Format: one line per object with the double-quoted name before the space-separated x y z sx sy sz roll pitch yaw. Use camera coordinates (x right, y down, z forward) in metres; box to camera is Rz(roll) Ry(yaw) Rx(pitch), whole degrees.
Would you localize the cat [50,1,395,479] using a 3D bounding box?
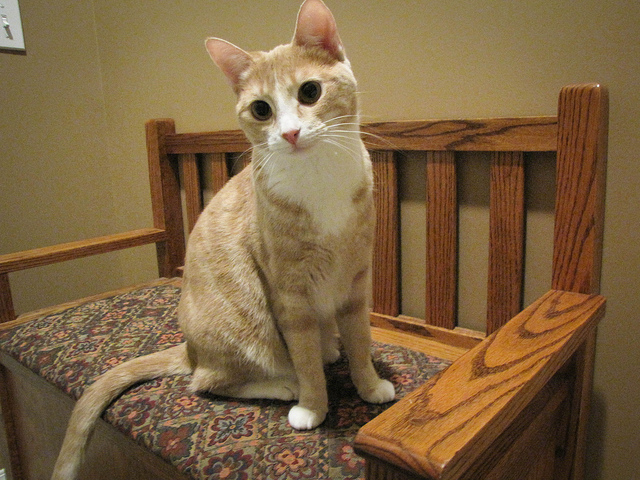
"cat" -0.095 -0.067 1.247 0.597 0.925 0.346 11 23 27
